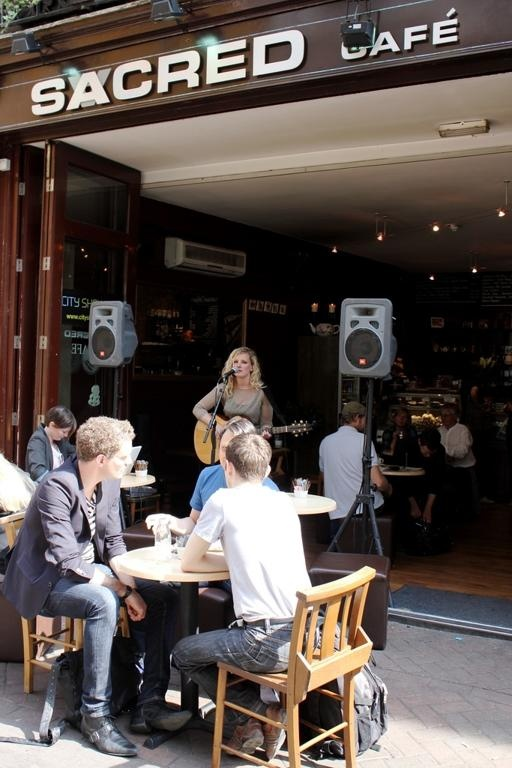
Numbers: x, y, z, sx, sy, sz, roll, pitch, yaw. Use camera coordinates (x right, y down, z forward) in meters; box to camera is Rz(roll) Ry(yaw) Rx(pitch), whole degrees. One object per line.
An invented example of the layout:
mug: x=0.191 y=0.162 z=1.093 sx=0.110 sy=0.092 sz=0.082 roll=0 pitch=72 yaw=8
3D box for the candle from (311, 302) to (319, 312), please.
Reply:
candle: x=0.823 y=-1.093 z=8.660 sx=0.121 sy=0.168 sz=0.113 roll=-1 pitch=-14 yaw=6

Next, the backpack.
backpack: x=0.330 y=1.052 z=2.094 sx=0.171 sy=0.320 sz=0.286 roll=-3 pitch=8 yaw=44

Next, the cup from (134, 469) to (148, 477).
cup: x=-0.855 y=0.665 z=4.615 sx=0.067 sy=0.041 sz=0.068 roll=1 pitch=2 yaw=0

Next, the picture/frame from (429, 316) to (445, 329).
picture/frame: x=3.216 y=-1.061 z=11.051 sx=0.315 sy=0.313 sz=0.170 roll=0 pitch=-6 yaw=21

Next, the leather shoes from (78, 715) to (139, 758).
leather shoes: x=-0.501 y=1.172 z=2.116 sx=0.083 sy=0.110 sz=0.258 roll=0 pitch=-5 yaw=-41

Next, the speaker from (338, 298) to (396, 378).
speaker: x=0.707 y=-0.305 z=3.929 sx=0.309 sy=0.475 sz=0.236 roll=3 pitch=9 yaw=21

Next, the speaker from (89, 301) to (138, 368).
speaker: x=-1.015 y=-0.361 z=4.447 sx=0.331 sy=0.438 sz=0.280 roll=5 pitch=3 yaw=39

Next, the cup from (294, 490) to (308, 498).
cup: x=0.257 y=0.637 z=3.572 sx=0.059 sy=0.031 sz=0.059 roll=1 pitch=-1 yaw=0

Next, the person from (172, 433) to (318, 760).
person: x=-0.026 y=0.680 z=2.002 sx=0.509 sy=1.012 sz=0.409 roll=-6 pitch=-5 yaw=38

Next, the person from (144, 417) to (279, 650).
person: x=-0.231 y=0.557 z=2.547 sx=0.441 sy=0.921 sz=0.170 roll=18 pitch=7 yaw=23

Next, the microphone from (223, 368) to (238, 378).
microphone: x=-0.183 y=-0.091 z=4.757 sx=0.044 sy=0.052 sz=0.154 roll=43 pitch=33 yaw=24

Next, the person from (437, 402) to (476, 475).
person: x=2.105 y=0.634 z=6.664 sx=0.399 sy=0.748 sz=0.370 roll=-10 pitch=5 yaw=-26

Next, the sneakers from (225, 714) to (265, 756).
sneakers: x=-0.040 y=1.148 z=1.995 sx=0.072 sy=0.087 sz=0.205 roll=9 pitch=-26 yaw=-12

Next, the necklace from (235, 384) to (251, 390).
necklace: x=-0.104 y=0.022 z=4.999 sx=0.144 sy=0.036 sz=0.060 roll=6 pitch=2 yaw=11

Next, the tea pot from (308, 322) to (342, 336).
tea pot: x=0.922 y=-0.754 z=8.574 sx=0.318 sy=0.117 sz=0.184 roll=1 pitch=-7 yaw=17

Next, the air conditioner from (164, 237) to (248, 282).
air conditioner: x=-0.556 y=-1.378 z=6.799 sx=0.249 sy=0.322 sz=1.092 roll=7 pitch=2 yaw=37

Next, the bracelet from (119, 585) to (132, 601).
bracelet: x=-0.468 y=0.751 z=2.218 sx=0.036 sy=0.050 sz=0.018 roll=-20 pitch=-18 yaw=37

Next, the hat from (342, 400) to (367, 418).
hat: x=0.765 y=0.201 z=4.885 sx=0.117 sy=0.097 sz=0.167 roll=3 pitch=8 yaw=41
